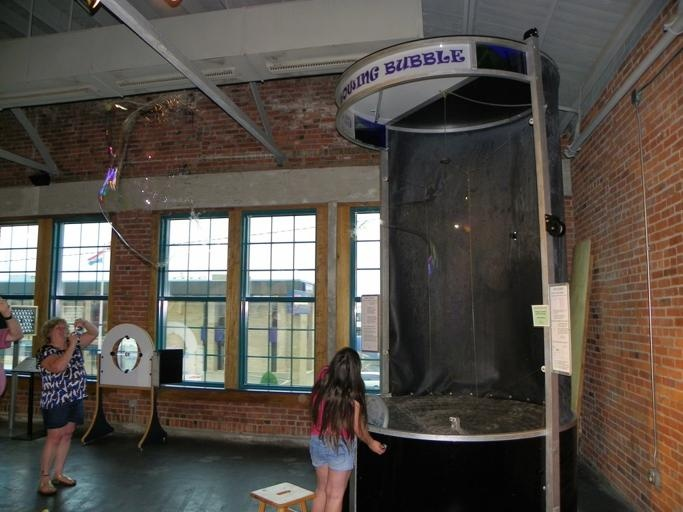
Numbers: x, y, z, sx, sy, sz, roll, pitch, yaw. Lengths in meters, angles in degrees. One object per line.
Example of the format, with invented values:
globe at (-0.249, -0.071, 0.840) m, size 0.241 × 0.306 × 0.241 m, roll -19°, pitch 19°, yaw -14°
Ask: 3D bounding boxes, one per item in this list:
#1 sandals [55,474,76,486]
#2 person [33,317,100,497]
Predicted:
sandals at (-3.102, 2.497, 6.442) m, size 0.208 × 0.092 × 0.109 m, roll 1°, pitch -4°, yaw 1°
person at (-3.126, 1.635, 6.508) m, size 0.589 × 1.856 × 0.553 m, roll -1°, pitch 1°, yaw -26°
